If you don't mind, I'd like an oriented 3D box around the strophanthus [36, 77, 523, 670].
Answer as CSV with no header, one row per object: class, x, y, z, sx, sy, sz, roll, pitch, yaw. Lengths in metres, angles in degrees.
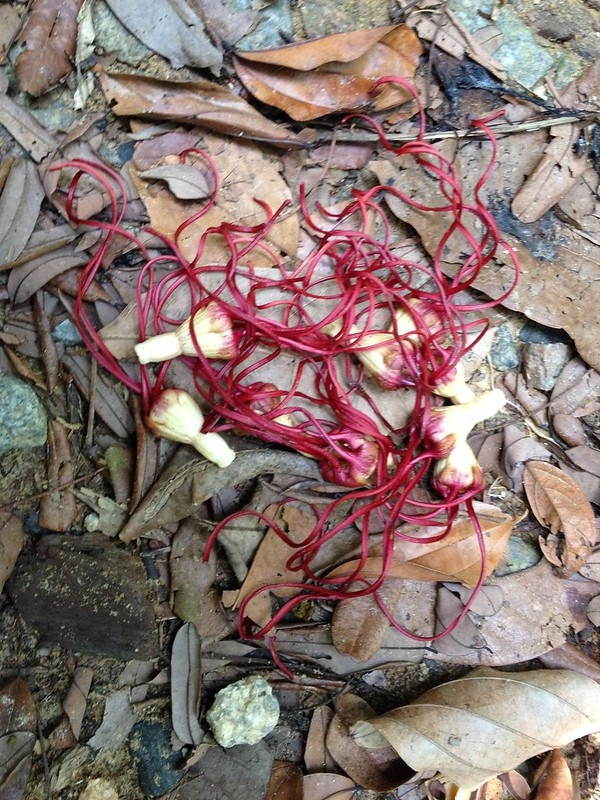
strophanthus,0.019,-0.027,1.138,0.665,0.693,0.715,-5,52,-21
